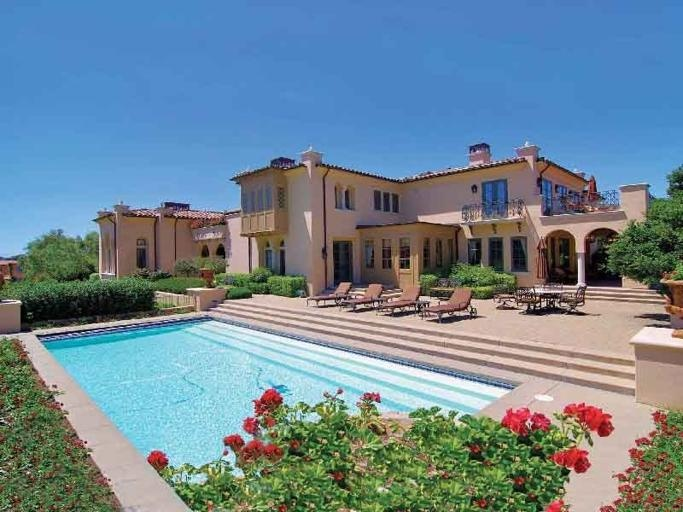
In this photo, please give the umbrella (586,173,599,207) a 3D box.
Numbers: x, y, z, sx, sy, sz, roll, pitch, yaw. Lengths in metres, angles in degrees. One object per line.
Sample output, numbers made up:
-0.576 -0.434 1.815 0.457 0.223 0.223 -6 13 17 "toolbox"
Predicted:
13.155 -3.492 27.886 0.519 1.325 3.190 -2 0 25 "umbrella"
